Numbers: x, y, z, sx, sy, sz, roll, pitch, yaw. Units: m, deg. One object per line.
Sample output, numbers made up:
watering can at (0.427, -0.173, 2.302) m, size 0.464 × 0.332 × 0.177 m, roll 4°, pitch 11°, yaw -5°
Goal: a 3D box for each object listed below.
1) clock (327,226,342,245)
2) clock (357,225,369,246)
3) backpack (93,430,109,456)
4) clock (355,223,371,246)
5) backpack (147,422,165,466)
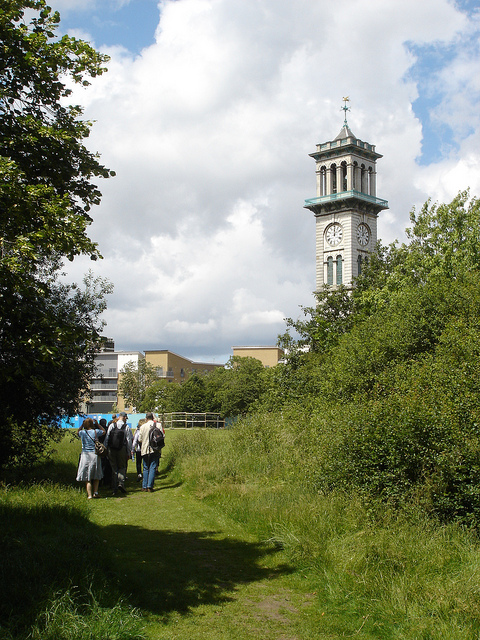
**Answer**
clock at (7.230, -6.427, 59.925) m, size 0.205 × 1.491 × 1.482 m, roll 4°, pitch 1°, yaw -27°
clock at (9.305, -6.436, 60.048) m, size 0.231 × 1.555 × 1.553 m, roll -6°, pitch 6°, yaw 32°
backpack at (-2.845, 2.519, 16.111) m, size 0.240 × 0.702 × 1.188 m, roll 1°, pitch 2°, yaw -8°
clock at (9.309, -6.550, 60.059) m, size 0.213 × 1.458 × 1.444 m, roll -6°, pitch 32°, yaw 29°
backpack at (-1.850, 2.615, 17.364) m, size 0.297 × 0.556 × 0.374 m, roll 1°, pitch 3°, yaw -7°
